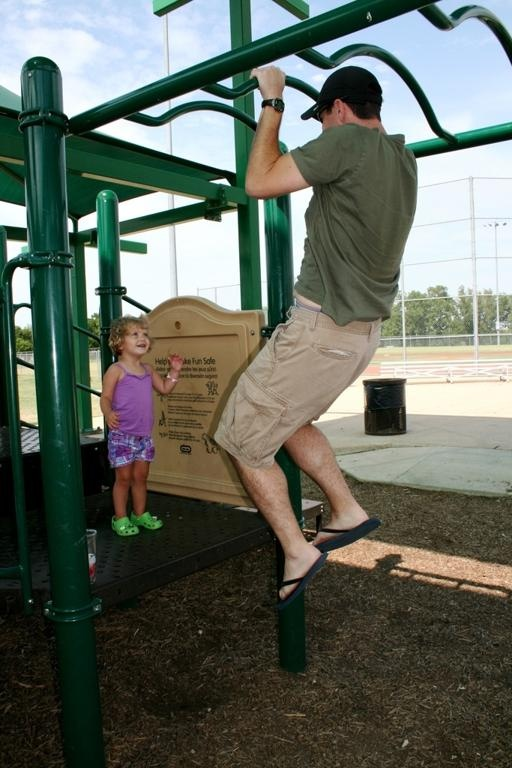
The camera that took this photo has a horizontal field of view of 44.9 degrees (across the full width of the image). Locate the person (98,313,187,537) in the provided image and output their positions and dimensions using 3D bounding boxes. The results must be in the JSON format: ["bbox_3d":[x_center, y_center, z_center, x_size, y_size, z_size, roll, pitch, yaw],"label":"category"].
[{"bbox_3d":[-0.528,0.167,2.855,0.369,1.011,0.370,-3,0,-18],"label":"person"}]

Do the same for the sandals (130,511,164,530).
[{"bbox_3d":[-0.502,0.610,2.785,0.128,0.055,0.067,4,5,32],"label":"sandals"}]

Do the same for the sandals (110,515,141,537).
[{"bbox_3d":[-0.576,0.625,2.725,0.109,0.083,0.183,-3,0,-17],"label":"sandals"}]

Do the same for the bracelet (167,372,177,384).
[{"bbox_3d":[-0.392,-0.034,2.935,0.056,0.052,0.042,3,-5,-38],"label":"bracelet"}]

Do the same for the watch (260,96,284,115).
[{"bbox_3d":[0.047,-0.781,1.742,0.059,0.045,0.038,-3,0,-3],"label":"watch"}]

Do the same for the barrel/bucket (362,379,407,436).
[{"bbox_3d":[1.837,0.334,8.771,0.743,0.788,0.742,-1,-1,0],"label":"barrel/bucket"}]

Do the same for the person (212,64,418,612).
[{"bbox_3d":[0.215,-0.132,1.844,0.546,1.537,0.489,-4,0,-25],"label":"person"}]
